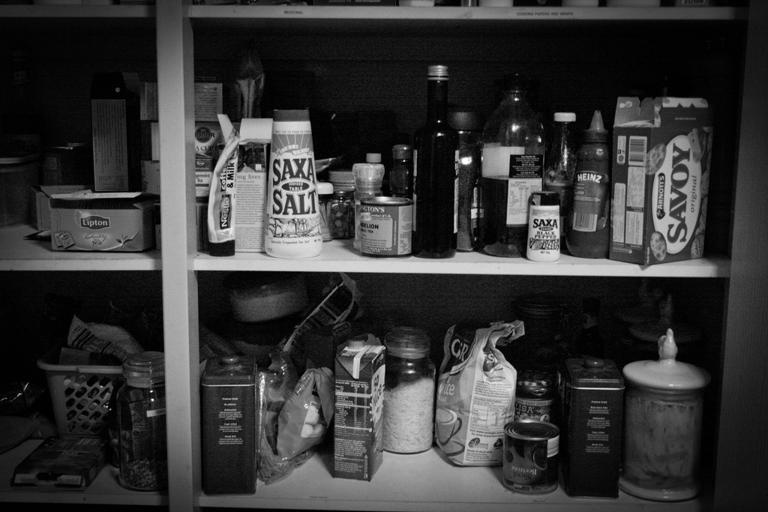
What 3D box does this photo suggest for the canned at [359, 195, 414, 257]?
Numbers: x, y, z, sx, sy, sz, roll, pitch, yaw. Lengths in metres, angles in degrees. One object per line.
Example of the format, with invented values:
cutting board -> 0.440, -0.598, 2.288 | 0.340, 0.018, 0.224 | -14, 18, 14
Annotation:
canned -> 0.010, -0.092, 1.832 | 0.169, 0.160, 0.161 | 5, 11, 15

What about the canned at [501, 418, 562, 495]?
canned -> 0.403, 0.566, 1.862 | 0.191, 0.181, 0.180 | 0, 10, 0

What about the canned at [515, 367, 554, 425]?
canned -> 0.422, 0.423, 1.931 | 0.141, 0.134, 0.131 | 1, 3, 5

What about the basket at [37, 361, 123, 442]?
basket -> -0.918, 0.437, 2.063 | 0.292, 0.185, 0.243 | 1, -6, 7

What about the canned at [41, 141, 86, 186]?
canned -> -0.997, -0.283, 2.020 | 0.151, 0.123, 0.076 | 2, 10, -1

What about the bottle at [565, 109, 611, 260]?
bottle -> 0.558, -0.196, 1.773 | 0.118, 0.399, 0.069 | -1, 8, 13

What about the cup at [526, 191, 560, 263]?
cup -> 0.429, -0.078, 1.745 | 0.085, 0.184, 0.048 | -2, 8, 8
